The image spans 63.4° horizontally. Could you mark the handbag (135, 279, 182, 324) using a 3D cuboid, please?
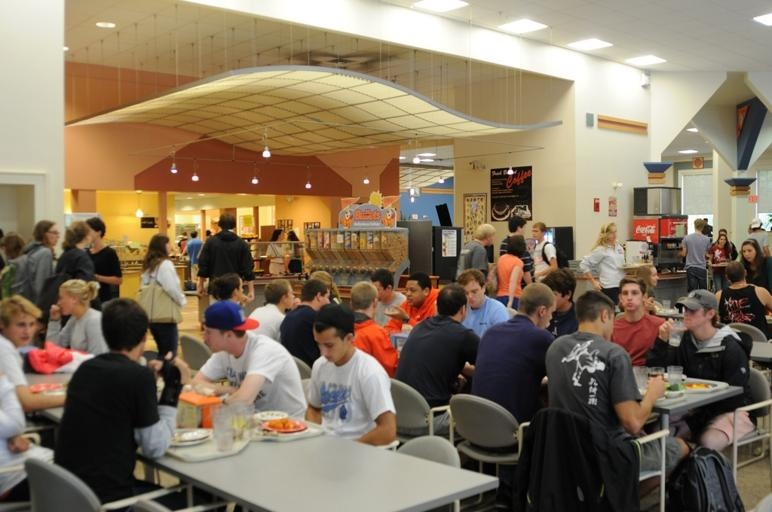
[{"bbox_3d":[-2.467,0.493,6.793,0.483,0.497,0.240,0,4,-10],"label":"handbag"}]

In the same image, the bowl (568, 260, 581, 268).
[{"bbox_3d":[3.992,0.165,13.206,0.167,0.170,0.170,0,0,0],"label":"bowl"}]

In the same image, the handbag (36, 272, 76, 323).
[{"bbox_3d":[-3.264,0.421,6.168,0.244,0.638,0.475,14,-6,-21],"label":"handbag"}]

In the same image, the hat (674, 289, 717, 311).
[{"bbox_3d":[2.654,0.390,5.338,0.299,0.163,0.209,4,-6,-7],"label":"hat"}]

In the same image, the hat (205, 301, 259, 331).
[{"bbox_3d":[-1.077,0.422,4.346,0.318,0.140,0.202,-1,12,-21],"label":"hat"}]

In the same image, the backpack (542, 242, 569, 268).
[{"bbox_3d":[2.963,-0.019,10.938,0.380,0.404,0.281,-15,34,4],"label":"backpack"}]

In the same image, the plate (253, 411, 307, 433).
[{"bbox_3d":[-0.717,1.096,4.122,0.169,0.046,0.164,6,3,-43],"label":"plate"}]
